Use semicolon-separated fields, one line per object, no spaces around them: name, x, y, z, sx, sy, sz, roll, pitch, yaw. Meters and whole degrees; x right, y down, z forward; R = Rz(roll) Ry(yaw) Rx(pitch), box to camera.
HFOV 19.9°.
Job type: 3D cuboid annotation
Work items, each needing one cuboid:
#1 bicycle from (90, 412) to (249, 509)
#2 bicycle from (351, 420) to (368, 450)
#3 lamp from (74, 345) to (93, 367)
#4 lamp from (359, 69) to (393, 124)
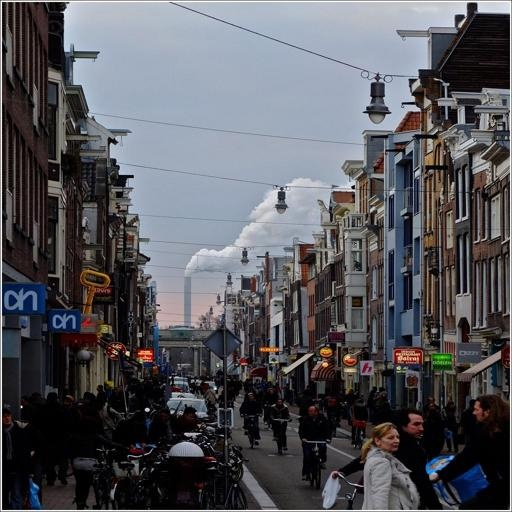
bicycle;-1.511;3.478;22.698;1.462;1.359;2.298;-1;-2;10
bicycle;2.949;5.197;41.611;0.418;0.542;0.876;0;-8;0
lamp;-6.119;3.844;51.614;0.741;0.589;1.243;-1;6;-8
lamp;2.936;-3.765;35.092;0.637;1.210;0.658;1;-10;6
